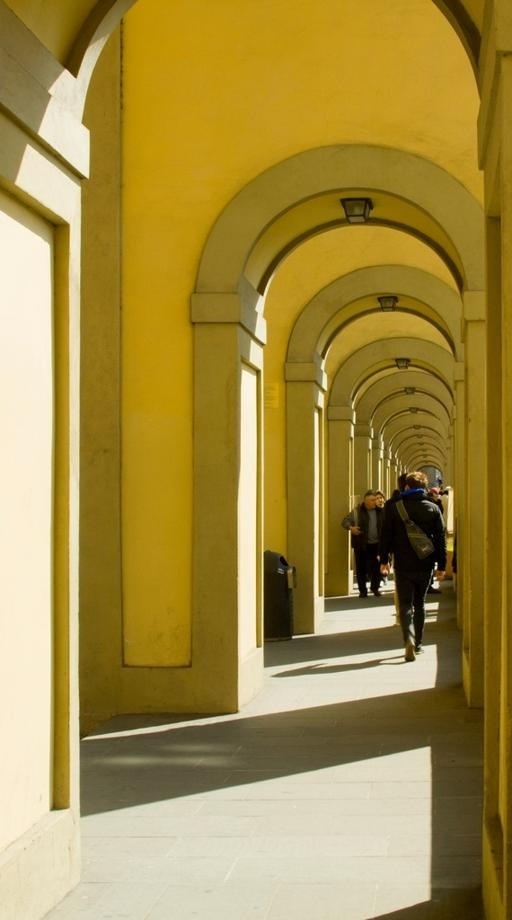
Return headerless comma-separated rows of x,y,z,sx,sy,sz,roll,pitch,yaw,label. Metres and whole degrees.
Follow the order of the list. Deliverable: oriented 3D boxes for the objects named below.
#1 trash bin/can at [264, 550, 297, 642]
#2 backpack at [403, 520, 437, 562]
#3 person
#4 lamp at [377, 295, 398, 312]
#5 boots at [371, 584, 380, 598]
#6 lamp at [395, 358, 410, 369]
0.261,1.736,9.955,0.350,1.131,0.312,0,-5,-8,trash bin/can
1.681,0.857,8.102,0.116,0.392,0.214,-22,-15,-32,backpack
1.682,1.133,8.463,0.674,2.037,1.008,-2,-5,14,person
1.981,-2.411,11.872,0.196,0.183,0.213,0,-16,-2,lamp
2.319,2.601,15.373,0.098,0.241,0.282,11,-19,-41,boots
3.297,-2.177,17.684,0.227,0.243,0.262,-9,10,-39,lamp
